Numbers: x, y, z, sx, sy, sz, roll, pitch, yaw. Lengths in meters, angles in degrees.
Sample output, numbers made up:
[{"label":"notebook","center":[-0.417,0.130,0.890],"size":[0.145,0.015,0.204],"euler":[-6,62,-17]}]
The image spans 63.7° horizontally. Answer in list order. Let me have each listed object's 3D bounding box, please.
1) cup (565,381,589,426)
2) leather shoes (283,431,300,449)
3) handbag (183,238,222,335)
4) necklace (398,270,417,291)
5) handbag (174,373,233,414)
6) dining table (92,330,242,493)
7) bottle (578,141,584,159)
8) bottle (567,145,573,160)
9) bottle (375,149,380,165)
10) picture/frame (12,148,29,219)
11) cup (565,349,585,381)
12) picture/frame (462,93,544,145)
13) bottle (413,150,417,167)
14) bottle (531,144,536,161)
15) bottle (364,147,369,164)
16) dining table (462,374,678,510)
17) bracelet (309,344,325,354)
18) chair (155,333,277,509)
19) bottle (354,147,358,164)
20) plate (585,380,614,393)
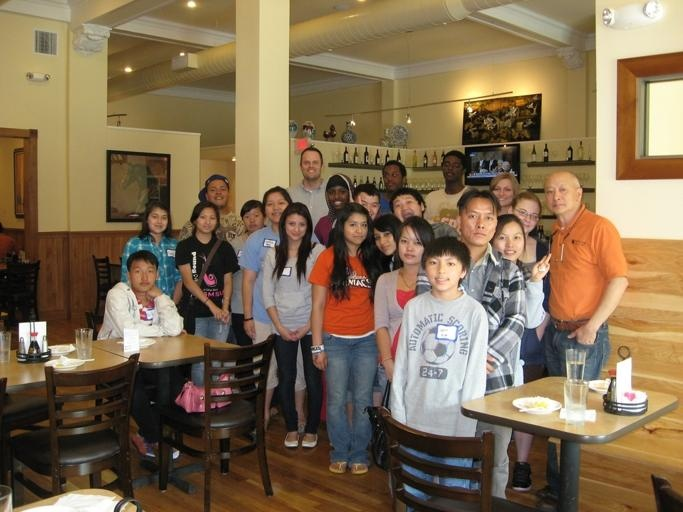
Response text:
[{"label":"cup","center":[1.045,0.638,2.454],"size":[0.092,0.189,0.133],"euler":[2,8,22]},{"label":"leather shoes","center":[-0.390,1.423,4.266],"size":[0.118,0.102,0.321],"euler":[0,-6,-7]},{"label":"handbag","center":[-1.185,0.244,4.691],"size":[0.379,0.746,0.205],"euler":[-4,8,-17]},{"label":"necklace","center":[0.414,0.155,3.522],"size":[0.098,0.132,0.043],"euler":[3,2,25]},{"label":"handbag","center":[-0.869,0.860,3.495],"size":[0.245,0.127,0.322],"euler":[-6,-7,41]},{"label":"dining table","center":[-1.270,0.889,3.863],"size":[1.005,0.623,1.022],"euler":[-7,10,-44]},{"label":"bottle","center":[3.747,-1.655,8.593],"size":[0.079,0.270,0.101],"euler":[2,8,21]},{"label":"bottle","center":[3.600,-1.618,8.637],"size":[0.091,0.243,0.187],"euler":[2,8,22]},{"label":"bottle","center":[0.634,-1.758,9.772],"size":[0.070,0.273,0.198],"euler":[-1,8,6]},{"label":"picture/frame","center":[-5.711,-1.301,9.746],"size":[0.125,1.633,1.430],"euler":[1,-2,-34]},{"label":"cup","center":[1.084,0.510,2.548],"size":[0.076,0.138,0.113],"euler":[1,8,18]},{"label":"picture/frame","center":[3.106,-2.586,10.372],"size":[1.412,0.805,0.051],"euler":[1,-5,33]},{"label":"bottle","center":[1.350,-1.801,10.154],"size":[0.100,0.304,0.157],"euler":[0,8,10]},{"label":"bottle","center":[3.158,-1.690,9.017],"size":[0.045,0.251,0.094],"euler":[-7,10,-37]},{"label":"bottle","center":[0.439,-1.746,9.541],"size":[0.052,0.275,0.172],"euler":[3,9,29]},{"label":"dining table","center":[1.078,0.902,2.606],"size":[0.754,0.711,0.760],"euler":[4,8,40]},{"label":"bracelet","center":[-0.172,0.656,3.904],"size":[0.111,0.064,0.123],"euler":[0,1,2]},{"label":"chair","center":[-0.866,1.016,3.723],"size":[0.777,1.136,0.932],"euler":[-3,8,-15]},{"label":"bottle","center":[0.242,-1.709,9.336],"size":[0.034,0.247,0.164],"euler":[2,9,25]},{"label":"plate","center":[1.302,0.656,2.771],"size":[0.136,0.031,0.135],"euler":[-4,8,2]}]
